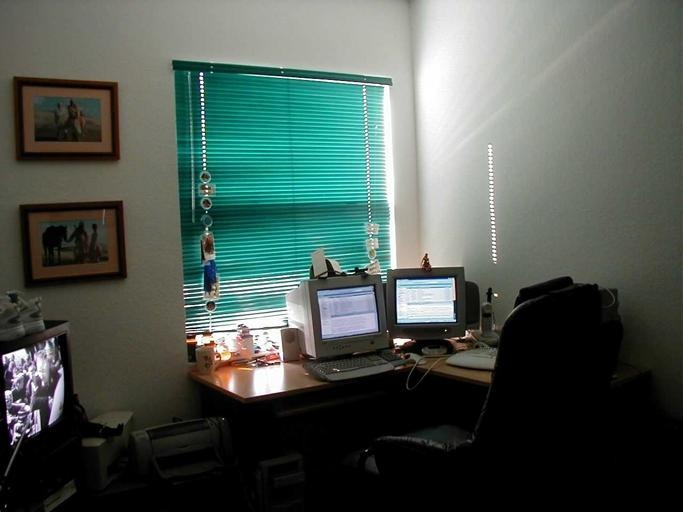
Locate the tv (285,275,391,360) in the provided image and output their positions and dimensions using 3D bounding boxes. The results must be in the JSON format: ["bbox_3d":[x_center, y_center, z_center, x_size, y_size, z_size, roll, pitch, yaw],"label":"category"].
[{"bbox_3d":[-0.026,0.386,3.490,0.516,0.439,0.556,-4,-17,-20],"label":"tv"}]

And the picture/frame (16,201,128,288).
[{"bbox_3d":[-1.660,-0.074,3.233,0.488,0.455,0.034,-4,-1,-25],"label":"picture/frame"}]

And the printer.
[{"bbox_3d":[-0.878,1.087,2.972,0.542,0.265,0.338,-9,5,-22],"label":"printer"}]

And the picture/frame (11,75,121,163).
[{"bbox_3d":[-1.697,-0.824,3.232,0.531,0.469,0.044,-3,-1,-22],"label":"picture/frame"}]

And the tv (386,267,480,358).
[{"bbox_3d":[0.504,0.306,3.655,0.779,0.765,0.468,-1,-11,1],"label":"tv"}]
